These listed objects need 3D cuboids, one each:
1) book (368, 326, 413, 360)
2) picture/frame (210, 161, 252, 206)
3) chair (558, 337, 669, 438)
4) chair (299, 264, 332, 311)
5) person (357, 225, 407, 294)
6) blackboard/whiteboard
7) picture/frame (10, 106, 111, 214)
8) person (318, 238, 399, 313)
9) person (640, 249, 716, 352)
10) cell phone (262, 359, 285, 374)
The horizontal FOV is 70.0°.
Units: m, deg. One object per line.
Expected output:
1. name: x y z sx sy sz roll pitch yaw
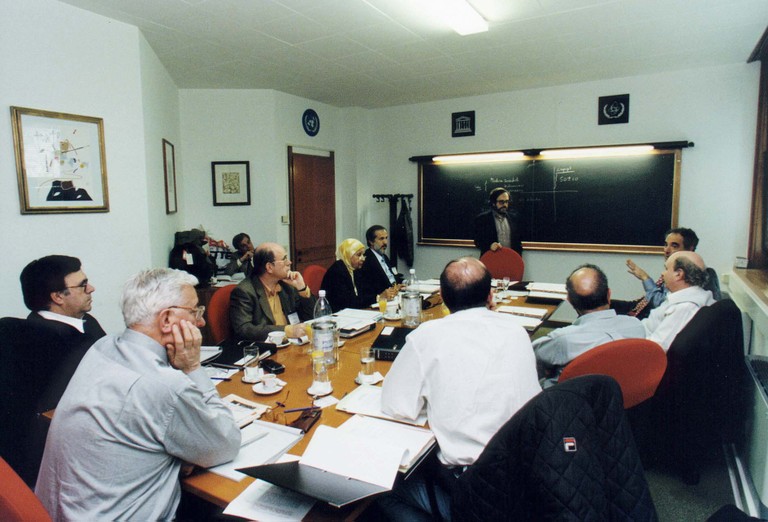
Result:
1. book: 0.034 0.522 3.556 0.207 0.050 0.216 2 24 27
2. picture/frame: -1.789 -0.920 6.365 0.502 0.600 0.040 -1 2 -15
3. chair: 1.279 0.636 3.303 0.477 0.636 0.517 -9 22 -6
4. chair: -0.614 0.243 5.017 0.295 0.485 0.322 6 7 41
5. person: -0.026 0.031 5.320 0.425 0.743 0.498 15 25 31
6. blackboard/whiteboard: 1.786 -0.763 6.674 3.128 1.205 0.253 3 7 31
7. picture/frame: -2.502 -0.775 4.194 0.063 0.987 0.839 5 7 38
8. person: -0.193 0.091 5.087 0.691 1.149 0.511 -1 8 7
9. person: 2.098 0.237 3.943 0.420 0.645 0.729 11 21 40
10. cell phone: -0.687 0.635 3.352 0.119 0.030 0.068 12 13 42
